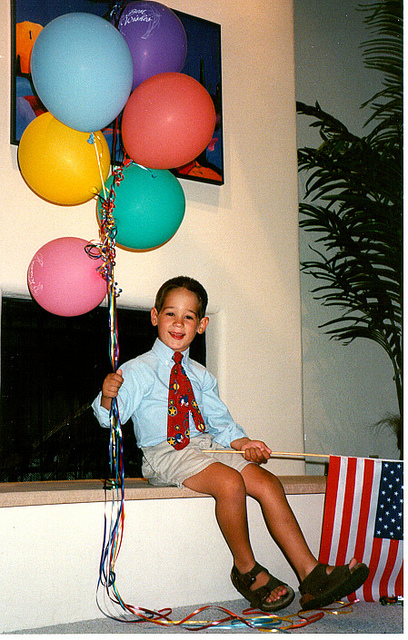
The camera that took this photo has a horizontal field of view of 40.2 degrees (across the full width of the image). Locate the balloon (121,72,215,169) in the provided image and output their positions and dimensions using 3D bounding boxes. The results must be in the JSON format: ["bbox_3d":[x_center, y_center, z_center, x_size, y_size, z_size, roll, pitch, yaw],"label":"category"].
[{"bbox_3d":[-0.112,-0.596,1.662,0.278,0.284,0.175,3,17,-1],"label":"balloon"}]

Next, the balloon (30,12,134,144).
[{"bbox_3d":[-0.344,-0.639,1.576,0.275,0.414,0.259,4,-22,-41],"label":"balloon"}]

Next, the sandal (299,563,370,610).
[{"bbox_3d":[0.294,0.600,1.282,0.059,0.182,0.076,17,32,-50],"label":"sandal"}]

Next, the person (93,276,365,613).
[{"bbox_3d":[0.038,0.290,1.484,0.706,0.917,0.569,-7,-12,32],"label":"person"}]

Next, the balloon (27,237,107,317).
[{"bbox_3d":[-0.425,-0.141,1.764,0.175,0.281,0.207,9,6,41],"label":"balloon"}]

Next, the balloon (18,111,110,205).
[{"bbox_3d":[-0.485,-0.502,1.739,0.215,0.271,0.217,-11,28,-40],"label":"balloon"}]

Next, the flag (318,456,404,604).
[{"bbox_3d":[0.459,0.576,1.691,0.237,0.440,0.162,2,2,-11],"label":"flag"}]

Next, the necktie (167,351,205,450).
[{"bbox_3d":[-0.054,0.235,1.667,0.109,0.197,0.263,3,18,-1],"label":"necktie"}]

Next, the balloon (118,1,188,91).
[{"bbox_3d":[-0.199,-0.883,1.895,0.226,0.317,0.197,-2,7,-38],"label":"balloon"}]
